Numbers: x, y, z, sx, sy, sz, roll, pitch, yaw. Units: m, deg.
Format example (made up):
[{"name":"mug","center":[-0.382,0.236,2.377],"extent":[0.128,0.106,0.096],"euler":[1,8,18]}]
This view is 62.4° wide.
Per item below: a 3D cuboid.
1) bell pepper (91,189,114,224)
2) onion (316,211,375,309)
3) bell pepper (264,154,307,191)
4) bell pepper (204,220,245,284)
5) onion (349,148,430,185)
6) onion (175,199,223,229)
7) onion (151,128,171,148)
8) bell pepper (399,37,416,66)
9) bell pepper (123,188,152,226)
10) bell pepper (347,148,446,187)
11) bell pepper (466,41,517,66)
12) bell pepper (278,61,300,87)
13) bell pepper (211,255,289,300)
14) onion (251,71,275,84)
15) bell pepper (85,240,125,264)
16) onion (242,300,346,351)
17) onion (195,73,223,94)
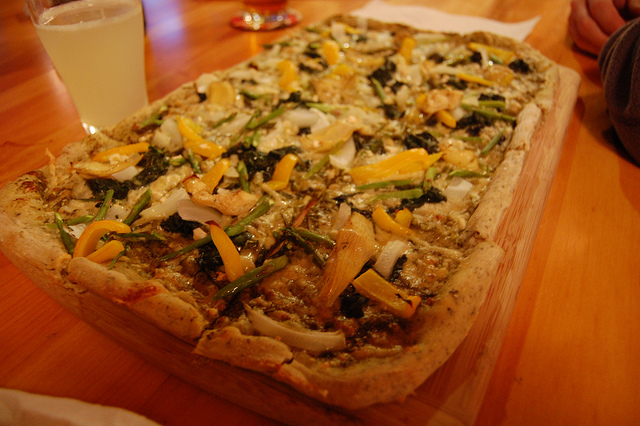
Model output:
[{"name":"bell pepper","center":[-0.698,-0.023,1.698],"extent":[0.024,0.017,0.120],"euler":[6,40,3]},{"name":"onion","center":[0.086,0.142,1.673],"extent":[0.129,0.070,0.297],"euler":[28,66,10]},{"name":"bell pepper","center":[-0.117,-0.140,1.831],"extent":[0.093,0.051,0.130],"euler":[29,88,38]},{"name":"bell pepper","center":[-0.290,0.119,1.671],"extent":[0.064,0.053,0.217],"euler":[-28,79,-2]},{"name":"onion","center":[0.251,-0.194,1.881],"extent":[0.424,0.124,0.118],"euler":[-10,13,-33]},{"name":"onion","center":[-0.397,-0.002,1.703],"extent":[0.108,0.036,0.106],"euler":[-2,21,7]},{"name":"onion","center":[-0.568,-0.261,1.880],"extent":[0.063,0.048,0.055],"euler":[23,59,6]},{"name":"bell pepper","center":[0.376,-0.686,2.263],"extent":[0.068,0.044,0.202],"euler":[2,52,8]},{"name":"bell pepper","center":[-0.588,-0.018,1.712],"extent":[0.042,0.042,0.159],"euler":[19,53,12]},{"name":"bell pepper","center":[0.260,-0.157,1.868],"extent":[0.345,0.098,0.124],"euler":[-11,86,-2]},{"name":"bell pepper","center":[0.729,-0.668,2.228],"extent":[0.169,0.044,0.048],"euler":[31,67,19]},{"name":"bell pepper","center":[-0.131,-0.551,2.149],"extent":[0.106,0.041,0.111],"euler":[-16,65,19]},{"name":"bell pepper","center":[-0.206,0.182,1.619],"extent":[0.306,0.101,0.221],"euler":[-6,18,-6]},{"name":"onion","center":[-0.229,-0.546,2.135],"extent":[0.067,0.018,0.070],"euler":[4,39,-3]},{"name":"bell pepper","center":[-0.655,0.120,1.602],"extent":[0.079,0.033,0.064],"euler":[-35,20,16]},{"name":"onion","center":[-0.079,0.345,1.537],"extent":[0.333,0.073,0.087],"euler":[14,85,-1]},{"name":"onion","center":[-0.436,-0.504,2.050],"extent":[0.090,0.026,0.089],"euler":[28,56,16]}]
